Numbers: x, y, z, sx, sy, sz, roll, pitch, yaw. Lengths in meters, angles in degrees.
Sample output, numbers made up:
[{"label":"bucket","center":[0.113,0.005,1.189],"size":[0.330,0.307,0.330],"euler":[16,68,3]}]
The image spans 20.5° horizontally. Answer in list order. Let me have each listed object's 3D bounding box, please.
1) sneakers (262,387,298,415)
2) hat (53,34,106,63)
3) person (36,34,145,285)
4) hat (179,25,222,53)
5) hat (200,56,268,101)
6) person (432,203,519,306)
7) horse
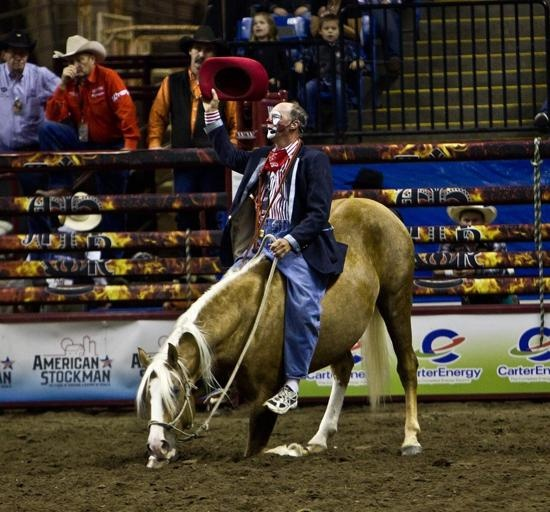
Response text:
[{"label":"sneakers","center":[0.045,1.227,12.817],"size":[0.274,0.240,0.258],"euler":[-1,3,0]},{"label":"hat","center":[-1.994,-2.153,15.619],"size":[0.498,0.259,0.484],"euler":[-3,4,-21]},{"label":"person","center":[-1.898,-0.980,15.602],"size":[1.060,2.552,0.895],"euler":[-1,3,0]},{"label":"hat","center":[-0.763,-2.260,15.661],"size":[0.366,0.274,0.643],"euler":[-3,4,-20]},{"label":"hat","center":[-0.395,-1.580,13.726],"size":[0.634,0.372,0.919],"euler":[-1,-6,-5]},{"label":"person","center":[2.067,-0.018,15.510],"size":[0.790,1.024,0.551],"euler":[-1,3,8]},{"label":"horse","center":[0.077,0.904,13.484],"size":[3.326,2.628,0.960],"euler":[-16,22,-41]}]
